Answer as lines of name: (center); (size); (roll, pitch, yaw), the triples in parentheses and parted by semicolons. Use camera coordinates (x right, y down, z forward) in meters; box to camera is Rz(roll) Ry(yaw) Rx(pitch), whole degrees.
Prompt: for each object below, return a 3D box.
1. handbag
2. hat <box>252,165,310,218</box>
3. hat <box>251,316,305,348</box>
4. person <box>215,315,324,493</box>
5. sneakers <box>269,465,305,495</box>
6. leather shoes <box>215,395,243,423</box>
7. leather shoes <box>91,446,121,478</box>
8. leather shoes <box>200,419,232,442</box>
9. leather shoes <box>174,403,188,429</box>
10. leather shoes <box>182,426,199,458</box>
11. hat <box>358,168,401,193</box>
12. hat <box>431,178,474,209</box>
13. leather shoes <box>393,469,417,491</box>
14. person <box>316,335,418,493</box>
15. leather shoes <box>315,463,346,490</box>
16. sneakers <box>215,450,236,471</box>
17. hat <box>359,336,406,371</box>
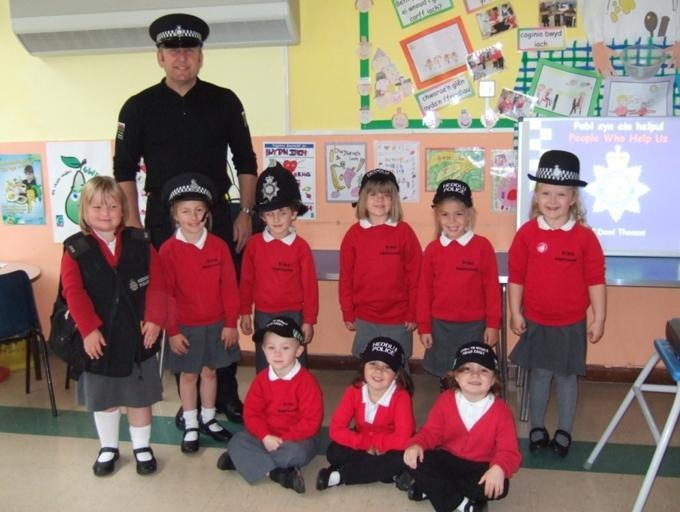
handbag: (-1.117, 0.231, 2.744); (0.467, 0.666, 0.275); (-5, 15, -19)
hat: (-0.312, -0.352, 3.150); (0.187, 0.209, 0.278); (-10, 6, 21)
hat: (-0.285, 0.369, 2.866); (0.142, 0.105, 0.200); (-9, -35, 33)
person: (-0.316, 0.683, 2.864); (0.468, 0.726, 0.486); (4, 14, 17)
sneakers: (-0.243, 1.022, 2.715); (0.083, 0.072, 0.196); (-9, 15, -40)
leather shoes: (-0.610, 0.879, 3.364); (0.231, 0.100, 0.085); (11, 7, 31)
leather shoes: (-1.120, 0.996, 2.809); (0.065, 0.074, 0.174); (0, 1, -4)
leather shoes: (-0.659, 0.941, 3.109); (0.144, 0.062, 0.054); (22, 20, 16)
leather shoes: (-0.869, 0.906, 3.231); (0.101, 0.049, 0.134); (-2, 31, -4)
leather shoes: (-0.755, 0.950, 2.978); (0.058, 0.063, 0.158); (1, -3, -7)
hat: (0.237, -0.427, 3.283); (0.196, 0.098, 0.271); (2, 11, -1)
hat: (0.599, -0.324, 3.085); (0.200, 0.146, 0.132); (-3, 14, -10)
leather shoes: (0.300, 1.025, 2.633); (0.083, 0.092, 0.115); (0, -33, 6)
person: (0.171, 0.752, 2.948); (0.502, 0.769, 0.657); (3, 2, 27)
leather shoes: (-0.048, 1.022, 2.690); (0.074, 0.051, 0.123); (2, 6, 27)
sneakers: (-0.551, 1.000, 2.829); (0.111, 0.102, 0.045); (6, 15, 23)
hat: (0.212, 0.463, 2.772); (0.133, 0.104, 0.189); (16, -11, 16)
